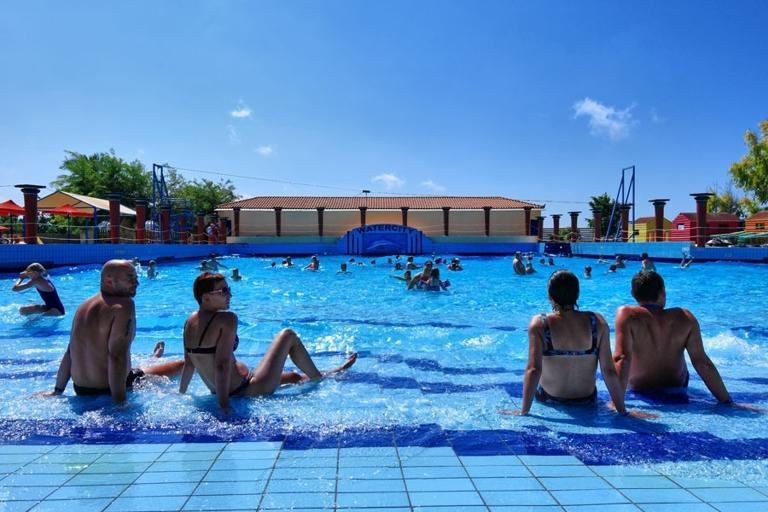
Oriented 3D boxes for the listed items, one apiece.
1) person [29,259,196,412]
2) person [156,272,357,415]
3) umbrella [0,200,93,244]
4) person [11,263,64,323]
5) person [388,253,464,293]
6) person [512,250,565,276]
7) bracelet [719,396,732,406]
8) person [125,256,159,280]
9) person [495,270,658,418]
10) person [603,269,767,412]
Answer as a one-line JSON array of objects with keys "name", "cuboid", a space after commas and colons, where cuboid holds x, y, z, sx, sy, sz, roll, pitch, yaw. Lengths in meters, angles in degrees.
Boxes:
[{"name": "person", "cuboid": [-2.676, 0.827, 6.186, 1.053, 1.386, 1.754, 0, -4, 19]}, {"name": "person", "cuboid": [-1.126, 0.843, 6.260, 2.086, 1.266, 0.876, -2, 0, -41]}, {"name": "umbrella", "cuboid": [-13.670, -1.378, 23.515, 2.693, 1.228, 1.856, 0, 6, -6]}, {"name": "person", "cuboid": [-5.866, 0.544, 9.793, 0.719, 0.890, 0.677, -8, 18, -35]}, {"name": "person", "cuboid": [1.023, 0.609, 13.767, 1.321, 0.561, 0.769, 2, -5, -21]}, {"name": "person", "cuboid": [5.549, 0.235, 20.785, 1.902, 1.173, 0.633, -5, 11, -23]}, {"name": "bracelet", "cuboid": [3.356, 1.421, 5.621, 0.082, 0.086, 0.088, 3, 11, -3]}, {"name": "person", "cuboid": [-5.865, 0.292, 14.039, 0.837, 0.277, 0.604, -3, 13, -41]}, {"name": "person", "cuboid": [1.825, 0.902, 5.813, 1.466, 1.459, 0.870, -2, 3, 10]}, {"name": "person", "cuboid": [2.822, 0.796, 5.665, 1.198, 0.946, 1.418, -2, 9, 14]}]
